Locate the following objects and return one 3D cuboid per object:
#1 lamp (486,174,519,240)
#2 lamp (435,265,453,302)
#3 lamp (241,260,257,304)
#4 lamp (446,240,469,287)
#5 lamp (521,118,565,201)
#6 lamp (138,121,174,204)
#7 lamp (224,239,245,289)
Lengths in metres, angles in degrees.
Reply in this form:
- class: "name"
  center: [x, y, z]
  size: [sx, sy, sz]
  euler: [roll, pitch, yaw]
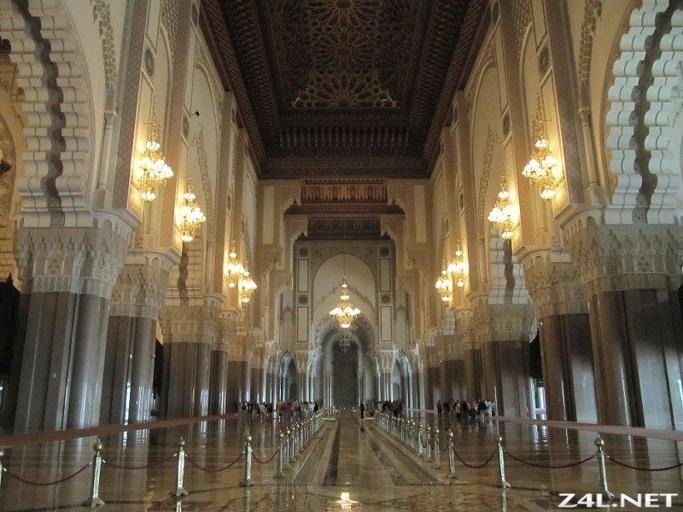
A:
- class: "lamp"
  center: [3.492, -1.083, 10.667]
  size: [0.530, 1.470, 0.603]
  euler: [-6, -18, 14]
- class: "lamp"
  center: [3.354, 0.768, 15.786]
  size: [0.511, 1.397, 0.518]
  euler: [4, 6, 28]
- class: "lamp"
  center: [-3.031, 0.879, 15.549]
  size: [0.576, 1.163, 0.636]
  euler: [10, 13, 8]
- class: "lamp"
  center: [3.415, 0.188, 14.270]
  size: [0.488, 1.303, 0.529]
  euler: [-1, -4, -26]
- class: "lamp"
  center: [3.583, -1.765, 8.985]
  size: [0.556, 1.679, 0.971]
  euler: [-6, -18, 14]
- class: "lamp"
  center: [-3.230, -1.510, 8.405]
  size: [0.568, 1.235, 0.584]
  euler: [6, 5, 42]
- class: "lamp"
  center: [-3.068, 0.258, 13.999]
  size: [0.686, 1.367, 0.670]
  euler: [-13, 16, -41]
